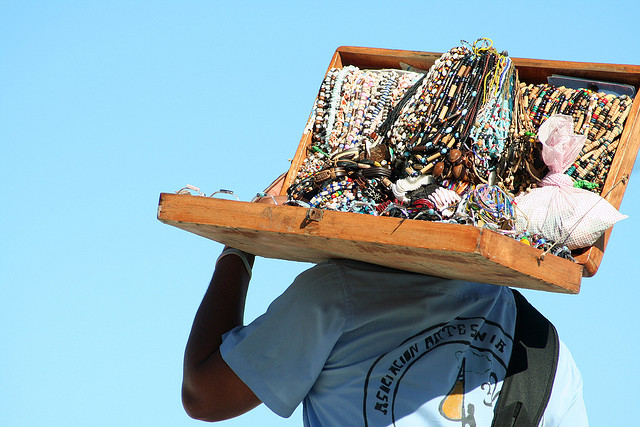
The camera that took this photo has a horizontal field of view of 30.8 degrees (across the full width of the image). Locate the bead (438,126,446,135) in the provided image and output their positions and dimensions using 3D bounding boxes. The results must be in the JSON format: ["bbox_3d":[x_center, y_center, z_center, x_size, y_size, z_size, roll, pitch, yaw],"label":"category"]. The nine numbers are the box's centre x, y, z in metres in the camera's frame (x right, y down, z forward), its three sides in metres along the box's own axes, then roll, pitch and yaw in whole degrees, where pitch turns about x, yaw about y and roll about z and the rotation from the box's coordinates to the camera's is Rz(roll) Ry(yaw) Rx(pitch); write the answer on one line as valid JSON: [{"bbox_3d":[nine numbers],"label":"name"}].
[{"bbox_3d":[0.363,-0.247,3.493,0.014,0.024,0.006,7,10,1],"label":"bead"}]

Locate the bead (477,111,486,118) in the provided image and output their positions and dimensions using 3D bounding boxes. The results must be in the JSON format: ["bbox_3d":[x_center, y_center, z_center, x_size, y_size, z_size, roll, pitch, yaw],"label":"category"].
[{"bbox_3d":[0.480,-0.299,3.511,0.006,0.037,0.009,42,-10,44],"label":"bead"}]

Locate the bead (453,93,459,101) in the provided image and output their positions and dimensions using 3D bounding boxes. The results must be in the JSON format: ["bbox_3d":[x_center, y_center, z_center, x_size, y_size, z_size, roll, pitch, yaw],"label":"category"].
[{"bbox_3d":[0.408,-0.352,3.520,0.005,0.019,0.014,9,2,-8],"label":"bead"}]

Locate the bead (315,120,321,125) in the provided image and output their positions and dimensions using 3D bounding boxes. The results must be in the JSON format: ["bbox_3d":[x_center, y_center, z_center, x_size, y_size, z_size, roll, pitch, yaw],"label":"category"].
[{"bbox_3d":[-0.007,-0.300,3.841,0.015,0.007,0.020,0,-3,-1],"label":"bead"}]

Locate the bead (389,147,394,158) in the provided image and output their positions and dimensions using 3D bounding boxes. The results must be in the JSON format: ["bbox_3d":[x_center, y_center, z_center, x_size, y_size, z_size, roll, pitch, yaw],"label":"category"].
[{"bbox_3d":[0.215,-0.183,3.565,0.009,0.028,0.004,-31,-11,35],"label":"bead"}]

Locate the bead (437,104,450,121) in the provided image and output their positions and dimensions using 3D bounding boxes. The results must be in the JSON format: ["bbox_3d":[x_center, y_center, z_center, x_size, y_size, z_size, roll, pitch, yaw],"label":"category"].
[{"bbox_3d":[0.368,-0.303,3.509,0.019,0.066,0.019,28,-10,8],"label":"bead"}]

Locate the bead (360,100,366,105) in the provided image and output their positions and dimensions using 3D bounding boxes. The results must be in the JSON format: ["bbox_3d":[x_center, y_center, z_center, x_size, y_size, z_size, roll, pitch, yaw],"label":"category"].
[{"bbox_3d":[0.136,-0.360,3.773,0.013,0.009,0.013,1,-2,3],"label":"bead"}]

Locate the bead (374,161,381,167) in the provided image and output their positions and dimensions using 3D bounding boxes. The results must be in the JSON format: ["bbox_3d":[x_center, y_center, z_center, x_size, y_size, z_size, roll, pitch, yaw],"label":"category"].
[{"bbox_3d":[0.171,-0.150,3.552,0.015,0.004,0.011,25,-12,9],"label":"bead"}]

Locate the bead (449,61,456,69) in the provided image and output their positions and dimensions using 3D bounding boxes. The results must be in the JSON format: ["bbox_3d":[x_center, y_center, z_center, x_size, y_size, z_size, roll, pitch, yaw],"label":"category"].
[{"bbox_3d":[0.400,-0.454,3.568,0.008,0.028,0.006,24,8,-34],"label":"bead"}]

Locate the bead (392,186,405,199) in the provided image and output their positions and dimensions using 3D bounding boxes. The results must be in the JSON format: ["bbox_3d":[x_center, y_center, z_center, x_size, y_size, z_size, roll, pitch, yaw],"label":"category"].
[{"bbox_3d":[0.235,-0.064,3.514,0.033,0.031,0.033,-2,16,-11],"label":"bead"}]

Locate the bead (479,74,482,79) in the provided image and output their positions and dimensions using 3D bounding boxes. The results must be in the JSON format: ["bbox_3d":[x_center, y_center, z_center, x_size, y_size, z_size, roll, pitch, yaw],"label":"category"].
[{"bbox_3d":[0.482,-0.416,3.542,0.010,0.013,0.004,4,6,1],"label":"bead"}]

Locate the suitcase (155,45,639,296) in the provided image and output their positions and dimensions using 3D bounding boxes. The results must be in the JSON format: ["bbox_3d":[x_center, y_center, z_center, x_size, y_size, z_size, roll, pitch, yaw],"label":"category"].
[{"bbox_3d":[0.368,-0.046,3.497,0.977,0.618,1.019,6,-7,33],"label":"suitcase"}]

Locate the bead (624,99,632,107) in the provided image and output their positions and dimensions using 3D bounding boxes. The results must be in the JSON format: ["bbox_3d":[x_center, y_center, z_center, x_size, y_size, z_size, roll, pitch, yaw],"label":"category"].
[{"bbox_3d":[0.969,-0.350,3.695,0.007,0.025,0.007,39,-14,30],"label":"bead"}]
